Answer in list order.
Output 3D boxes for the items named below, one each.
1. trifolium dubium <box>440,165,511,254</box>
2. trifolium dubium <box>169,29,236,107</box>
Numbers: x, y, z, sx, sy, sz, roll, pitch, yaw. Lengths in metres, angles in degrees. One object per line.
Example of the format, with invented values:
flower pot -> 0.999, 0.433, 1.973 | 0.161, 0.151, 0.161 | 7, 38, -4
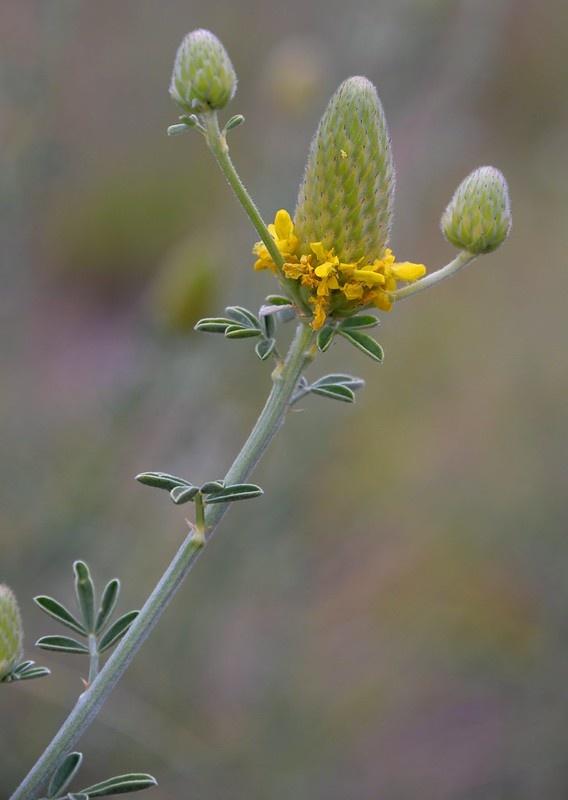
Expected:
trifolium dubium -> 0.243, -0.241, 1.100 | 0.088, 0.090, 0.118 | 15, -71, 20
trifolium dubium -> -0.096, -0.388, 1.000 | 0.066, 0.063, 0.082 | -19, -57, -16
